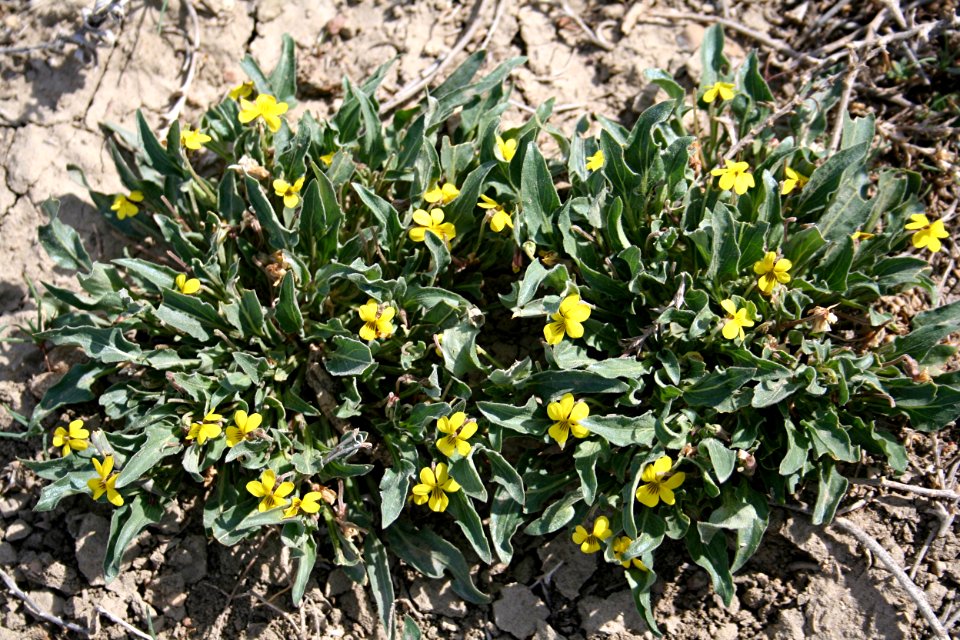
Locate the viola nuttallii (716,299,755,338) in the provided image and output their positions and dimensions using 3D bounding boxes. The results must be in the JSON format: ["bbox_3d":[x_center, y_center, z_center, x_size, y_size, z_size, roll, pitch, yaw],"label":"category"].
[{"bbox_3d":[1.272,-0.017,4.026,0.161,0.175,0.045,27,101,14],"label":"viola nuttallii"}]
